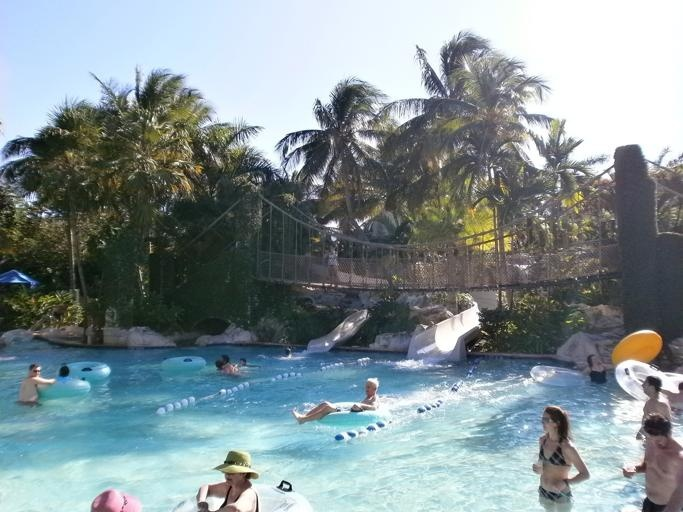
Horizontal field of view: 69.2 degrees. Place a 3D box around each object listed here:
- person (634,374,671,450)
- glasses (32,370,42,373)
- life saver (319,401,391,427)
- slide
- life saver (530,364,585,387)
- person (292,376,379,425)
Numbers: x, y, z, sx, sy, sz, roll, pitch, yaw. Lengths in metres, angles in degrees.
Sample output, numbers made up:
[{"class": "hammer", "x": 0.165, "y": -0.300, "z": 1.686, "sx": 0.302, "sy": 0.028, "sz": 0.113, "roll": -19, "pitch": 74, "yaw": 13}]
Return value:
[{"class": "person", "x": 4.257, "y": 1.936, "z": 6.713, "sx": 0.505, "sy": 1.219, "sz": 0.647, "roll": 4, "pitch": 0, "yaw": 33}, {"class": "glasses", "x": -6.568, "y": 2.278, "z": 10.657, "sx": 0.146, "sy": 0.055, "sz": 0.152, "roll": 3, "pitch": -18, "yaw": -20}, {"class": "life saver", "x": 0.247, "y": 2.715, "z": 9.068, "sx": 1.262, "sy": 0.291, "sz": 0.438, "roll": -2, "pitch": 1, "yaw": -2}, {"class": "slide", "x": 2.859, "y": 2.246, "z": 16.124, "sx": 2.865, "sy": 0.909, "sz": 2.815, "roll": -1, "pitch": 7, "yaw": 31}, {"class": "life saver", "x": 5.028, "y": 2.519, "z": 11.345, "sx": 1.177, "sy": 0.355, "sz": 0.545, "roll": -1, "pitch": 2, "yaw": 22}, {"class": "person", "x": -0.039, "y": 2.536, "z": 9.421, "sx": 1.660, "sy": 0.950, "sz": 0.821, "roll": 6, "pitch": -20, "yaw": -11}]
